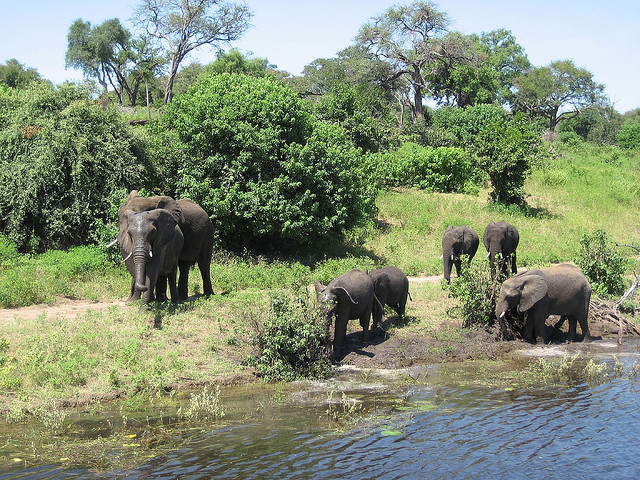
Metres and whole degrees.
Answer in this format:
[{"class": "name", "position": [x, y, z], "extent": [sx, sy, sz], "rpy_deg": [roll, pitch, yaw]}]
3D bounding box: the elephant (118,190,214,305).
[{"class": "elephant", "position": [-4.470, 0.402, 19.993], "extent": [1.744, 2.783, 3.434], "rpy_deg": [-3, -1, 25]}]

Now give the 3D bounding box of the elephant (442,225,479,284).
[{"class": "elephant", "position": [5.027, 0.402, 25.153], "extent": [1.258, 1.803, 2.820], "rpy_deg": [3, 6, 34]}]

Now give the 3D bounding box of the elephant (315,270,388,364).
[{"class": "elephant", "position": [0.719, 1.983, 18.616], "extent": [1.018, 2.341, 2.299], "rpy_deg": [-3, -2, 31]}]

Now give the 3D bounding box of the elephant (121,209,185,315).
[{"class": "elephant", "position": [-4.490, 0.547, 18.632], "extent": [0.863, 2.823, 1.940], "rpy_deg": [-2, -2, 18]}]

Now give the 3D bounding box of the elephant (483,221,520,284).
[{"class": "elephant", "position": [6.380, 0.351, 24.537], "extent": [1.046, 2.001, 3.256], "rpy_deg": [1, 4, 24]}]

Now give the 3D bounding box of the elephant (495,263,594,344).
[{"class": "elephant", "position": [6.201, 1.824, 19.449], "extent": [2.746, 2.157, 0.919], "rpy_deg": [-1, -2, -20]}]
